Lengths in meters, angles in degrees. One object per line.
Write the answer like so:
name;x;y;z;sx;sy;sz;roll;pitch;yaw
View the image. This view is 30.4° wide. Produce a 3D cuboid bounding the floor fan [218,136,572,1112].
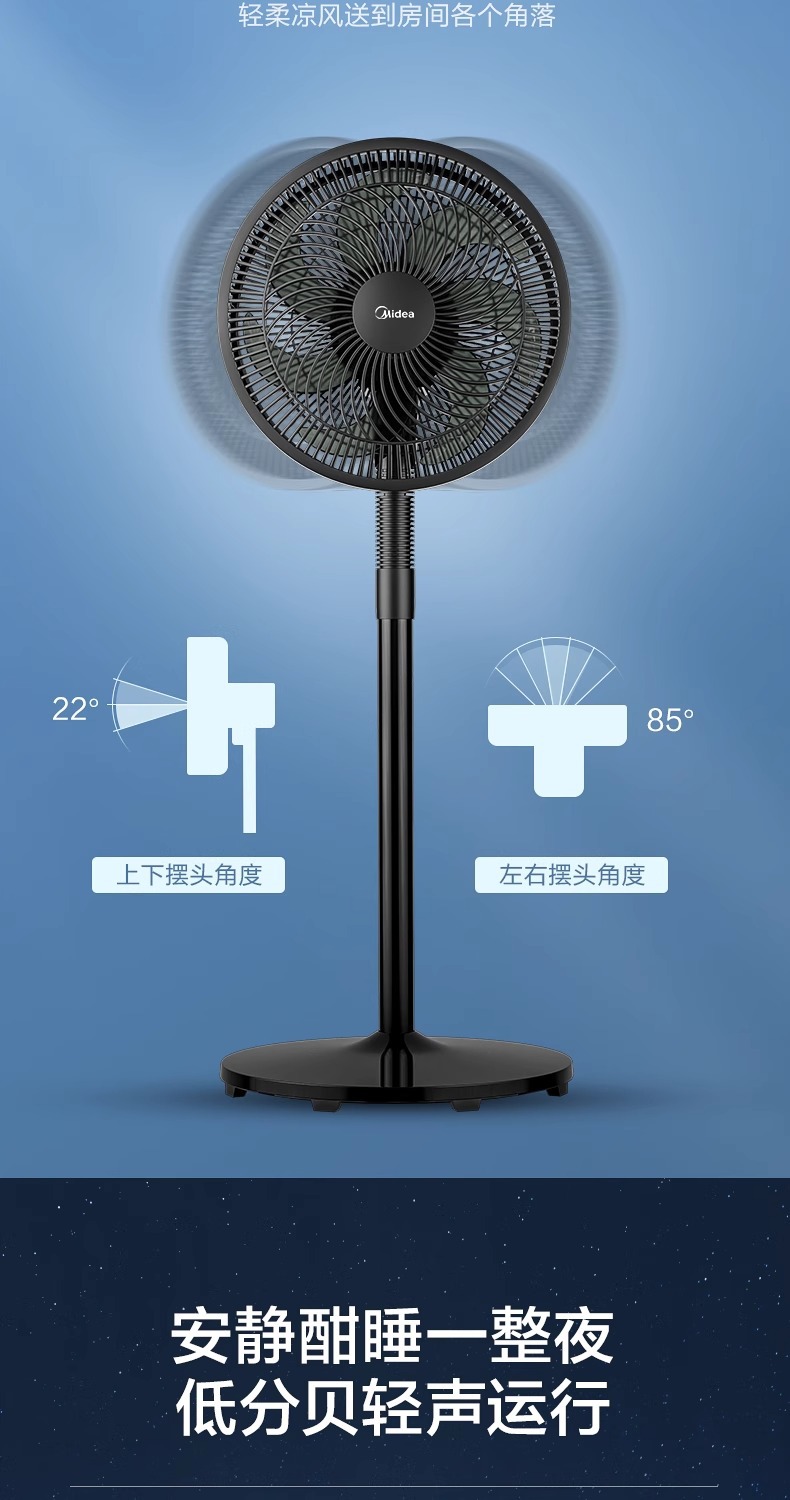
floor fan;0.015;-0.161;2.254;0.568;1.485;0.488;-2;12;-15
